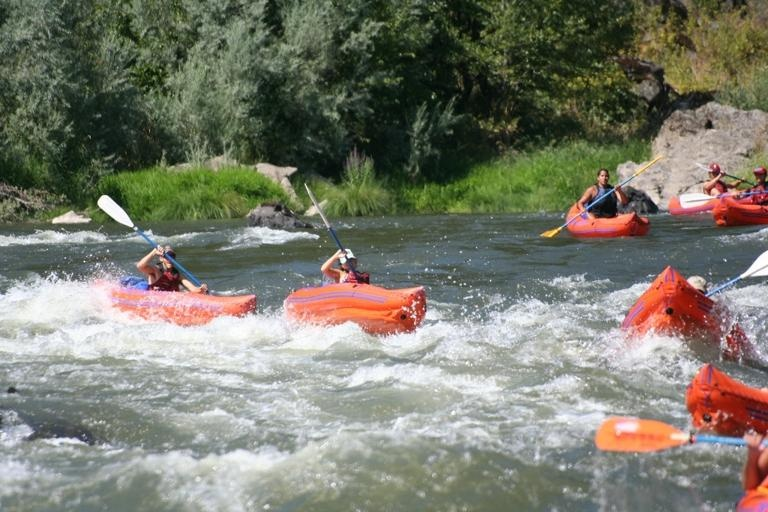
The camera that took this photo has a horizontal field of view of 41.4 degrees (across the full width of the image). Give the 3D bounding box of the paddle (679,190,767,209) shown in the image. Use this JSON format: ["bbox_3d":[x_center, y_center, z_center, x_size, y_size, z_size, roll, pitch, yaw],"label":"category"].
[{"bbox_3d":[8.254,-1.369,24.490,2.780,0.233,0.607,2,43,-12],"label":"paddle"}]

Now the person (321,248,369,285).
[{"bbox_3d":[-0.777,0.258,19.286,0.592,0.441,0.846,9,-12,-23],"label":"person"}]

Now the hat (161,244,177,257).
[{"bbox_3d":[-4.152,-0.079,19.533,0.186,0.258,0.410,-9,10,1],"label":"hat"}]

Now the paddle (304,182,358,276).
[{"bbox_3d":[-1.290,-0.635,24.962,0.433,3.060,0.336,-34,-9,23],"label":"paddle"}]

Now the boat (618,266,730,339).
[{"bbox_3d":[5.010,0.909,17.552,0.988,0.692,1.452,5,24,10],"label":"boat"}]

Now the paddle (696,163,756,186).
[{"bbox_3d":[9.223,-2.198,27.147,1.596,0.086,0.236,26,5,-15],"label":"paddle"}]

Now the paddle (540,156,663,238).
[{"bbox_3d":[5.960,-1.555,27.690,4.213,0.717,0.297,-39,37,4],"label":"paddle"}]

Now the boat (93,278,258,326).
[{"bbox_3d":[-3.858,0.937,19.038,3.132,0.701,0.994,7,-1,8],"label":"boat"}]

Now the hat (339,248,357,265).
[{"bbox_3d":[-0.654,-0.020,19.273,0.257,0.247,0.470,0,14,41],"label":"hat"}]

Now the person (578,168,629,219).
[{"bbox_3d":[5.262,-1.205,24.498,1.113,1.764,0.891,0,5,9],"label":"person"}]
